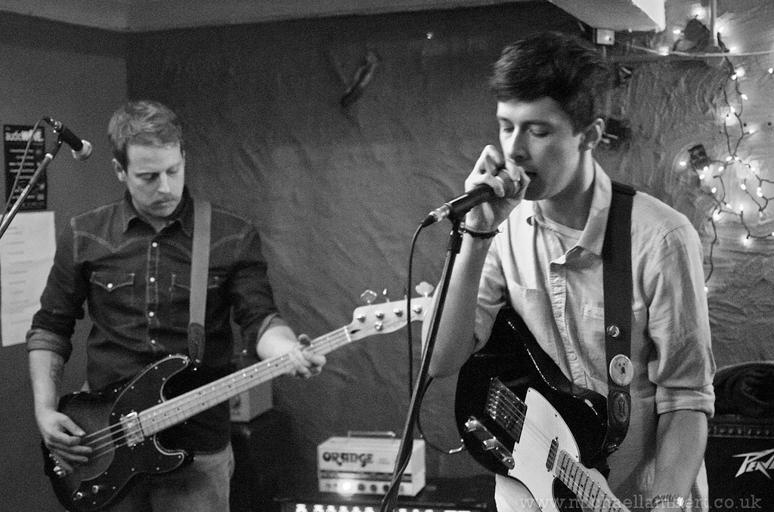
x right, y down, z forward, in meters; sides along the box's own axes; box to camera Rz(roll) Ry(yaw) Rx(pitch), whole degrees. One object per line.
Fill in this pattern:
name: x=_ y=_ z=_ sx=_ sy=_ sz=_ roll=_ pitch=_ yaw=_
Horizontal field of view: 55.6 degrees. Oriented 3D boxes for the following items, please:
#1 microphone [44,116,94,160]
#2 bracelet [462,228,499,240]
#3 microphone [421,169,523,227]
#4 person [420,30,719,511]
microphone: x=-1.346 y=-0.496 z=3.137 sx=0.176 sy=0.159 sz=0.195 roll=1 pitch=4 yaw=-4
bracelet: x=0.308 y=-0.073 z=2.449 sx=0.109 sy=0.041 sz=0.194 roll=2 pitch=4 yaw=6
microphone: x=0.248 y=-0.186 z=2.295 sx=0.350 sy=0.181 sz=0.138 roll=-1 pitch=5 yaw=-37
person: x=0.679 y=0.095 z=2.595 sx=1.006 sy=1.757 sz=0.445 roll=1 pitch=4 yaw=-8
